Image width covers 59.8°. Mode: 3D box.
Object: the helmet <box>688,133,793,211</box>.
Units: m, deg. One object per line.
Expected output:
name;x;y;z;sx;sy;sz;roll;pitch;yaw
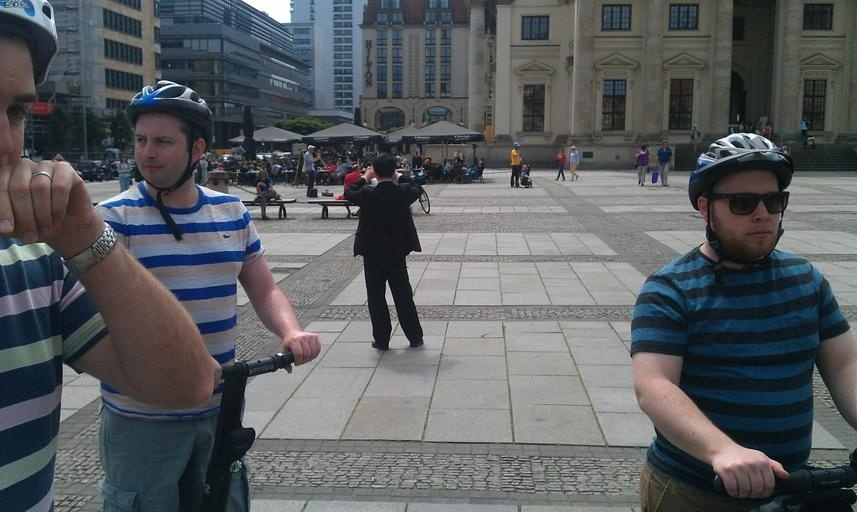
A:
helmet;1.380;-0.414;3.474;0.418;0.255;0.553;-1;-13;-2

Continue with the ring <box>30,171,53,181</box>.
ring;-1.199;-0.252;2.322;0.054;0.023;0.024;-6;13;-24

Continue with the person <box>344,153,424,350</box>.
person;-0.453;-0.080;7.810;0.784;1.967;0.806;-2;12;-6

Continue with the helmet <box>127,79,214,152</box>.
helmet;-1.335;-0.715;3.860;0.316;0.331;0.366;13;-38;-38

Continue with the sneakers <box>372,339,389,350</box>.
sneakers;-0.499;0.906;7.662;0.182;0.091;0.139;1;12;8
